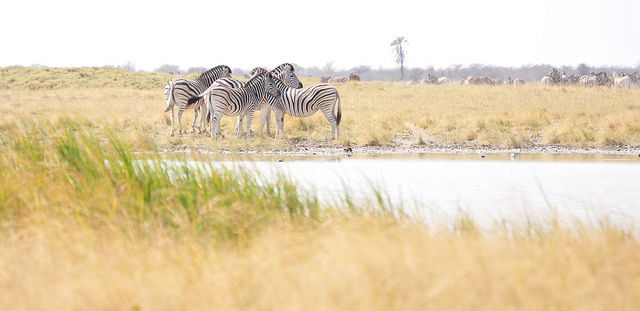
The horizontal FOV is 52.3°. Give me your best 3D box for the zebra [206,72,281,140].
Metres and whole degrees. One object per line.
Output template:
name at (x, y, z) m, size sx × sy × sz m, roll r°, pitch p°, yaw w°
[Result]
zebra at (-2.497, -1.636, 20.846) m, size 2.240 × 1.794 × 0.846 m, roll -6°, pitch 16°, yaw -21°
